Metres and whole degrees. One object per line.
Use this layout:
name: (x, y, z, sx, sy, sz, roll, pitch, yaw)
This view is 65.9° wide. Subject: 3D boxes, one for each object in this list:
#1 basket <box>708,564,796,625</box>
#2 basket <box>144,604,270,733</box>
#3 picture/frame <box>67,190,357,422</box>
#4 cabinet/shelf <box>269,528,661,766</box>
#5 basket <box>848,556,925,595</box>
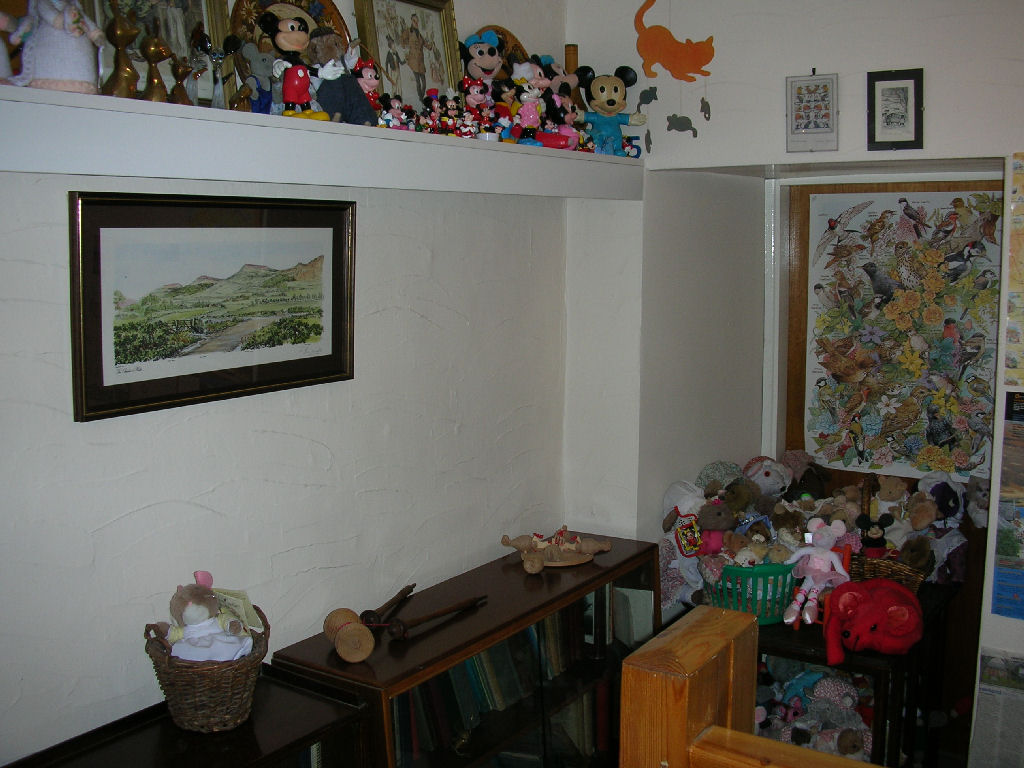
basket: (0.818, 0.702, 2.690, 0.278, 0.236, 0.137, 5, 13, 16)
basket: (-0.689, 0.647, 1.822, 0.226, 0.247, 0.253, -1, 12, -14)
picture/frame: (-0.723, -0.188, 1.844, 0.029, 0.366, 0.570, 5, 8, 39)
cabinet/shelf: (-0.076, 0.690, 2.336, 0.421, 0.197, 1.192, 14, 18, 42)
basket: (1.318, 0.646, 2.778, 0.190, 0.064, 0.149, -2, -2, 38)
